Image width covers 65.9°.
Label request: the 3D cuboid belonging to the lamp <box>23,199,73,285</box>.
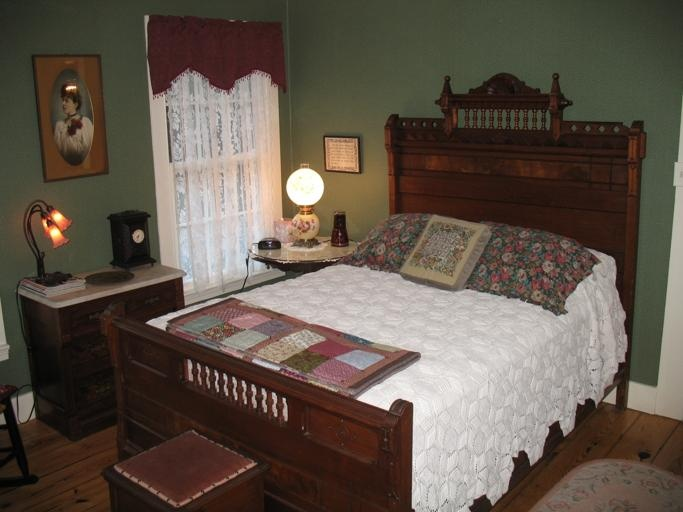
[{"bbox_3d":[-2.095,-0.106,3.732,0.337,0.589,0.308,-20,42,-41],"label":"lamp"}]

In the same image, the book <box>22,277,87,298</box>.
[{"bbox_3d":[-1.931,0.214,3.600,0.206,0.050,0.208,15,20,40],"label":"book"}]

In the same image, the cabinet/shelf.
[{"bbox_3d":[-1.635,0.666,3.460,0.526,0.946,0.927,13,22,33],"label":"cabinet/shelf"}]

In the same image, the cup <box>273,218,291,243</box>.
[{"bbox_3d":[-0.527,-0.239,4.816,0.188,0.210,0.191,1,15,0],"label":"cup"}]

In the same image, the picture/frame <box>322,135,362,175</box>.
[{"bbox_3d":[0.024,-0.974,5.017,0.359,0.320,0.039,11,22,37],"label":"picture/frame"}]

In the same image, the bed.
[{"bbox_3d":[0.391,0.063,3.376,2.067,2.462,3.047,12,20,43],"label":"bed"}]

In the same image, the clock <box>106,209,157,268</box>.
[{"bbox_3d":[-1.611,-0.142,4.082,0.279,0.387,0.296,12,19,32],"label":"clock"}]
